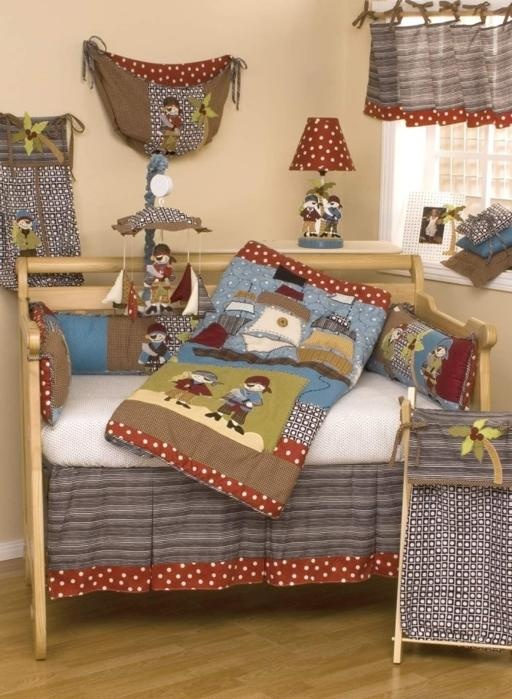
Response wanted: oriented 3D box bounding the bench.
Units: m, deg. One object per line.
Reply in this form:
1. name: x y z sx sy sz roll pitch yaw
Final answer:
1. bench: -0.023 0.303 1.746 1.238 0.784 0.487 -3 6 -20

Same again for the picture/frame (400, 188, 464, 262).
1. picture/frame: 0.773 -0.541 2.743 0.219 0.247 0.012 1 12 -14

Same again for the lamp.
1. lamp: 0.279 -0.681 2.631 0.256 0.570 0.475 1 -1 5

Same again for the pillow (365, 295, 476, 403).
1. pillow: 0.543 0.035 2.015 0.133 0.269 0.492 2 -1 -19
